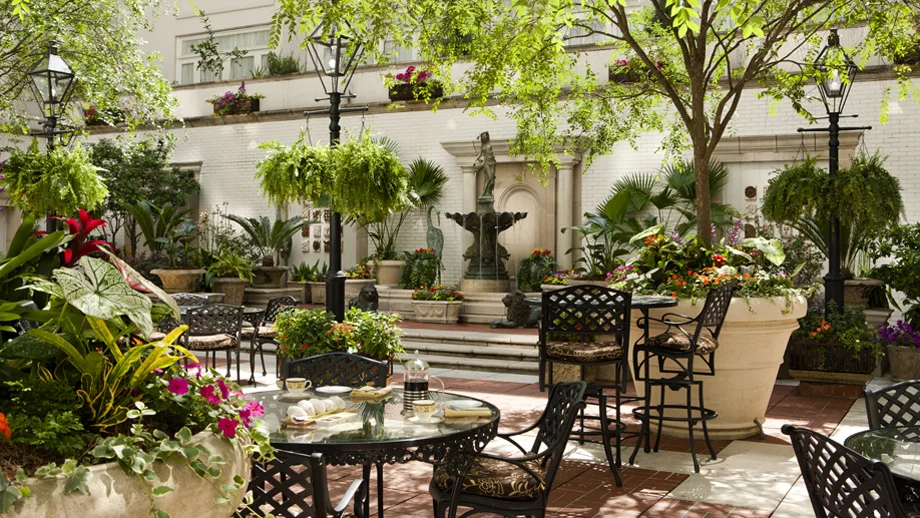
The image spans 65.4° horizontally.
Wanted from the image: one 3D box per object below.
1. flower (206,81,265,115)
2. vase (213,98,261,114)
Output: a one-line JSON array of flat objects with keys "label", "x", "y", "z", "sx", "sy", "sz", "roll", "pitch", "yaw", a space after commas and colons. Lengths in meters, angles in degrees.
[{"label": "flower", "x": -6.122, "y": -4.519, "z": 19.515, "sx": 1.063, "sy": 0.584, "sz": 1.101, "roll": -1, "pitch": -2, "yaw": 3}, {"label": "vase", "x": -6.104, "y": -4.184, "z": 19.640, "sx": 0.660, "sy": 0.225, "sz": 0.625, "roll": 1, "pitch": 6, "yaw": 26}]
